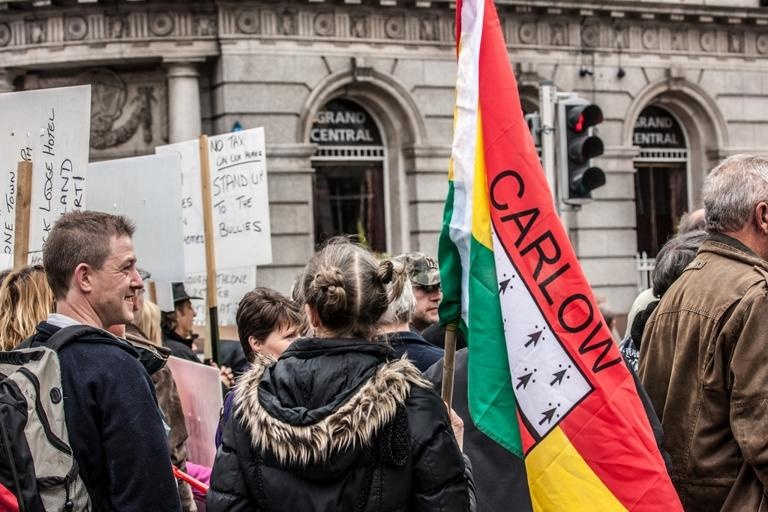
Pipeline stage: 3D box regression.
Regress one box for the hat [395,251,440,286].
[{"bbox_3d":[0.364,0.099,15.072,0.421,0.153,0.301,7,10,37],"label":"hat"}]
